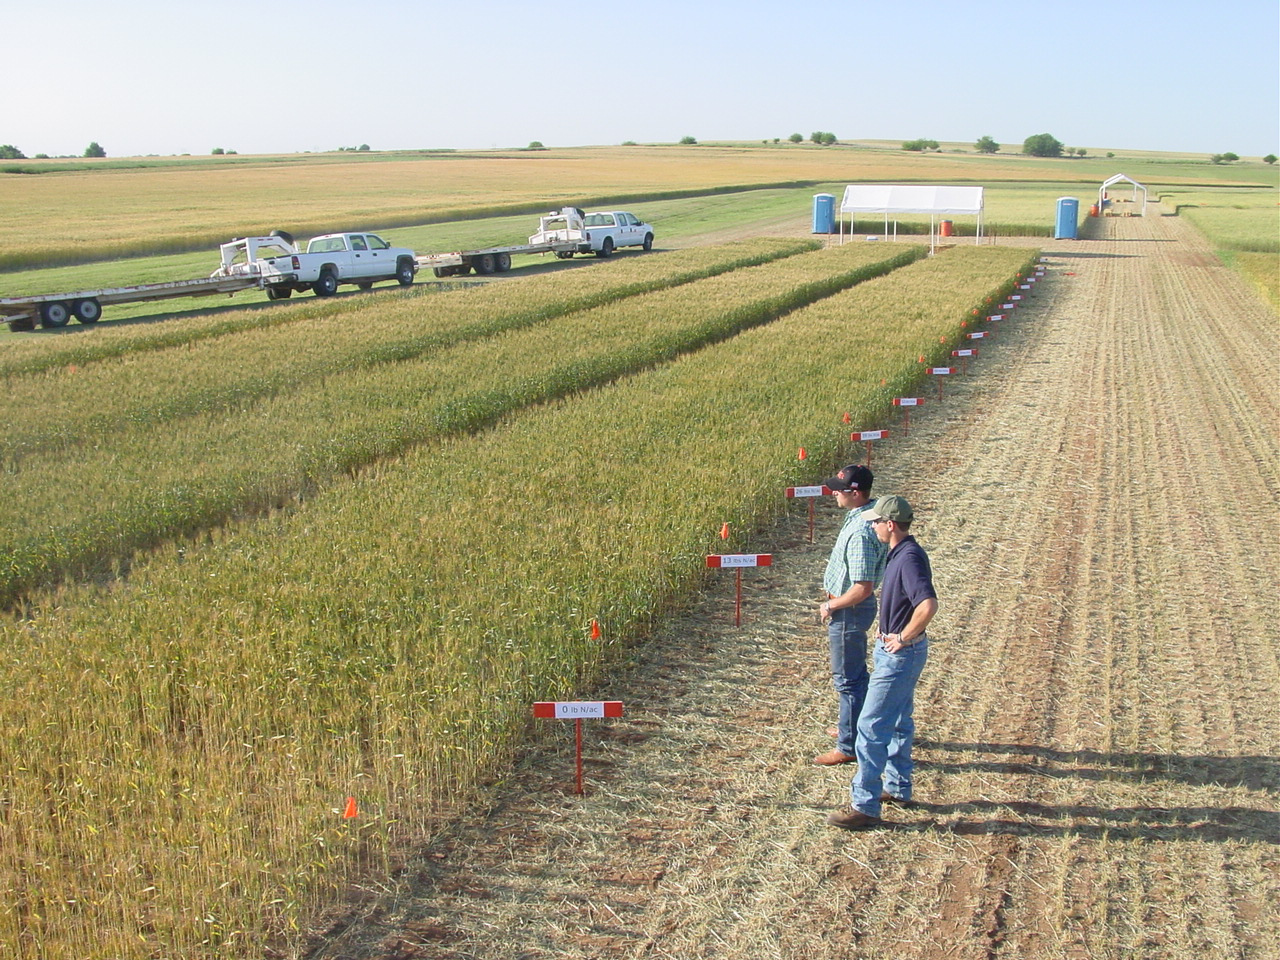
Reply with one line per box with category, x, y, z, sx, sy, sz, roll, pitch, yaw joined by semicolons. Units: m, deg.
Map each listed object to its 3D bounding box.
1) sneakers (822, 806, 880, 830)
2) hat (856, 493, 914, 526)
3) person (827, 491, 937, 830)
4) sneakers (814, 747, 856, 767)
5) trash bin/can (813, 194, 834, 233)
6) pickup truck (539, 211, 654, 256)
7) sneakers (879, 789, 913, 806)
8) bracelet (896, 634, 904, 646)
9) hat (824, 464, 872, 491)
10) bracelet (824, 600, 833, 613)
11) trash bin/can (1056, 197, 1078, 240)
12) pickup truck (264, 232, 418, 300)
sneakers;1.580;2.527;9.215;0.335;0.157;0.154;7;8;-2
hat;1.848;0.223;9.295;0.269;0.154;0.210;7;8;30
person;1.843;1.338;9.296;0.666;2.306;1.084;1;18;15
sneakers;1.559;2.221;9.968;0.257;0.114;0.130;5;4;4
trash bin/can;8.363;-12.151;57.010;0.906;1.652;1.686;2;19;16
pickup truck;-1.743;-9.197;46.564;1.326;1.818;5.256;13;25;41
sneakers;1.944;2.417;9.475;0.159;0.066;0.123;-1;-6;30
bracelet;1.888;1.176;9.088;0.074;0.080;0.019;-2;-6;25
hat;1.652;-0.014;9.788;0.251;0.149;0.188;0;6;8
bracelet;1.457;0.986;9.627;0.017;0.066;0.064;13;9;-43
trash bin/can;18.486;-11.327;54.128;0.768;1.715;0.996;1;18;15
pickup truck;-9.034;-6.206;35.929;1.761;1.515;4.370;15;25;34
